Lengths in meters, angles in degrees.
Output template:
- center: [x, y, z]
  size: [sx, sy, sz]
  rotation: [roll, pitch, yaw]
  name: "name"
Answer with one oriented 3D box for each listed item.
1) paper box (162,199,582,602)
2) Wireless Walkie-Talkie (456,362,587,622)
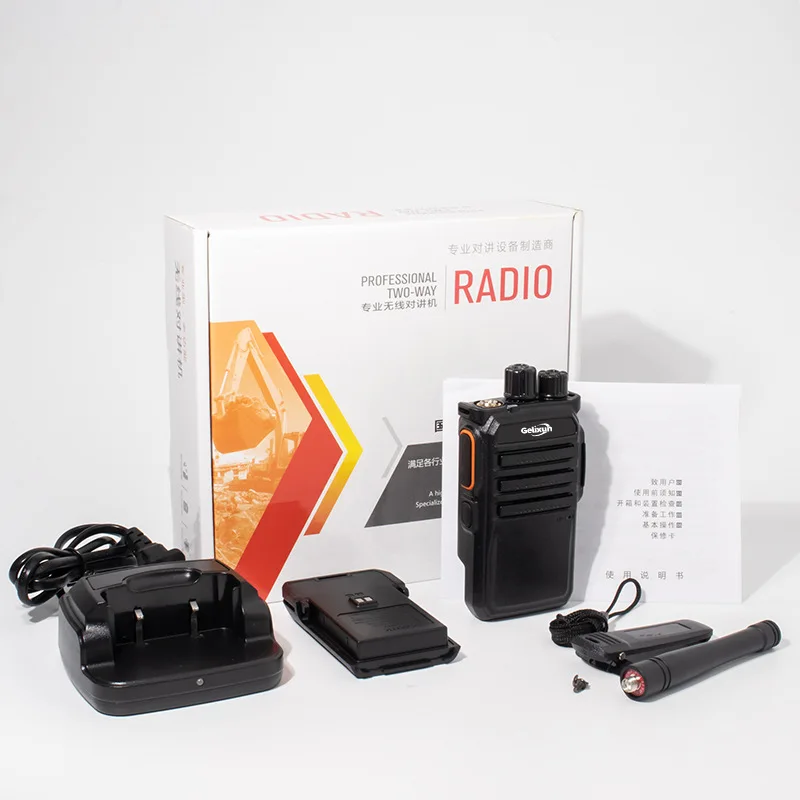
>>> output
- center: [-0.054, -0.032, 0.978]
  size: [0.524, 0.490, 0.200]
  rotation: [-7, 29, -18]
  name: "paper box"
- center: [0.137, 0.105, 0.928]
  size: [0.135, 0.274, 0.061]
  rotation: [-6, 15, -23]
  name: "Wireless Walkie-Talkie"
